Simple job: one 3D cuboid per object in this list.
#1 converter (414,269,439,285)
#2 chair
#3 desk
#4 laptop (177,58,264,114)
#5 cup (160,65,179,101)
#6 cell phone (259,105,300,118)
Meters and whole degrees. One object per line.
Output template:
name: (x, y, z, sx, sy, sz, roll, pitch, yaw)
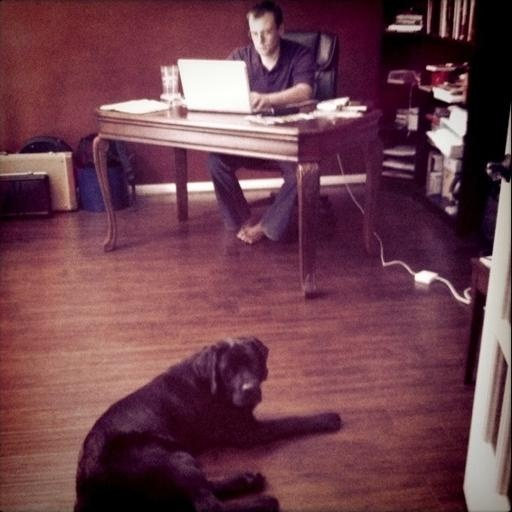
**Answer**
converter: (0.754, 0.090, 2.249, 0.053, 0.041, 0.083, 10, 35, 29)
chair: (0.197, -0.753, 2.886, 0.530, 0.964, 0.537, -12, 20, -21)
desk: (-0.116, -0.326, 2.429, 1.408, 0.749, 0.779, 4, 22, 14)
laptop: (-0.174, -0.742, 2.199, 0.296, 0.249, 0.244, 5, 31, 13)
cup: (-0.422, -0.850, 2.494, 0.087, 0.164, 0.150, -5, 21, -10)
cell phone: (0.098, -0.627, 2.194, 0.084, 0.025, 0.095, -11, 25, -18)
